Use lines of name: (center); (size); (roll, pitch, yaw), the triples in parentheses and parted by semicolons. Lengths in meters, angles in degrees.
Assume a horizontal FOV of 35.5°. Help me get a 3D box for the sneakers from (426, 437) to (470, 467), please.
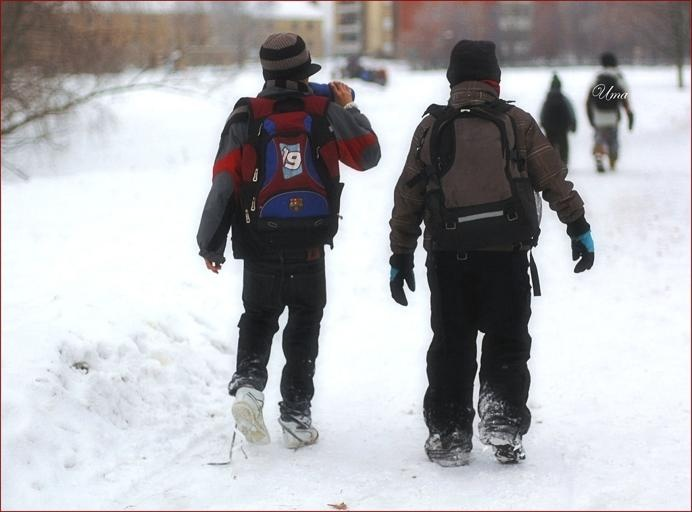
sneakers: (0.814, 1.542, 8.551); (0.278, 0.144, 0.220); (0, 1, -24)
